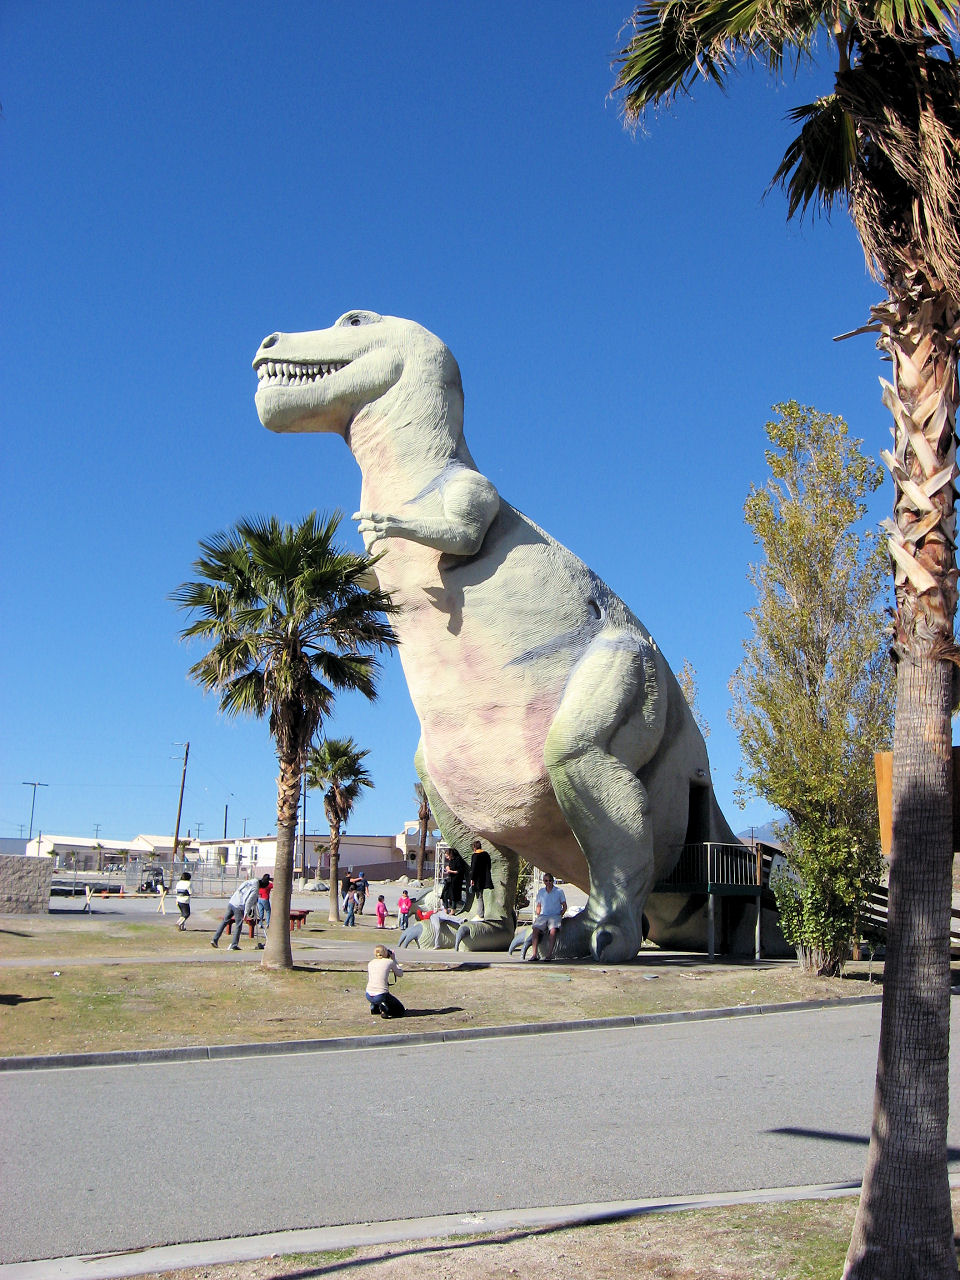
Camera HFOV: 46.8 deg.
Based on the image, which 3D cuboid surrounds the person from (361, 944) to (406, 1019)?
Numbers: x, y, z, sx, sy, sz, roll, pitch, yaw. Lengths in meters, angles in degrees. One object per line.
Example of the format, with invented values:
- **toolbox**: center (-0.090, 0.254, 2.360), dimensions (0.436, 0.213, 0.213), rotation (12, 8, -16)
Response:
- **person**: center (-1.063, 3.814, 12.621), dimensions (0.434, 0.731, 1.340), rotation (2, -11, -5)

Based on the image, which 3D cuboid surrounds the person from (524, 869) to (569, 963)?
- **person**: center (1.026, 4.402, 17.755), dimensions (0.650, 1.332, 1.092), rotation (1, -11, 3)

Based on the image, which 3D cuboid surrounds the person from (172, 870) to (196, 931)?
- **person**: center (-7.743, 6.777, 29.014), dimensions (0.352, 1.383, 3.209), rotation (4, -11, -15)

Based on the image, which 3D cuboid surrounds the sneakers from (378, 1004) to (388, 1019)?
- **sneakers**: center (-1.050, 4.014, 12.047), dimensions (0.103, 0.146, 0.039), rotation (-10, -11, 39)
